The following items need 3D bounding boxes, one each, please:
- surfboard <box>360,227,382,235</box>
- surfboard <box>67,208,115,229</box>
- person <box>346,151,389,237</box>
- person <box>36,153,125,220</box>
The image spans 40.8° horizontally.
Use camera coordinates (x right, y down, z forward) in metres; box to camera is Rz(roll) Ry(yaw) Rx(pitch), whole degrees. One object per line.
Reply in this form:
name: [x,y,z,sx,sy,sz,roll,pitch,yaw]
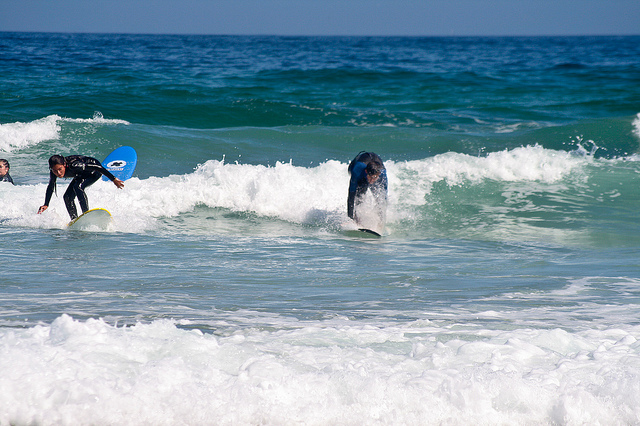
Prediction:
surfboard: [1.126,0.372,17.812,0.552,0.060,0.127,16,-26,12]
surfboard: [-4.467,0.113,17.023,1.506,0.341,0.124,-2,28,7]
person: [0.993,-0.414,17.889,0.805,1.693,0.647,4,12,1]
person: [-4.941,-0.519,17.359,1.382,1.334,0.793,1,12,-13]
